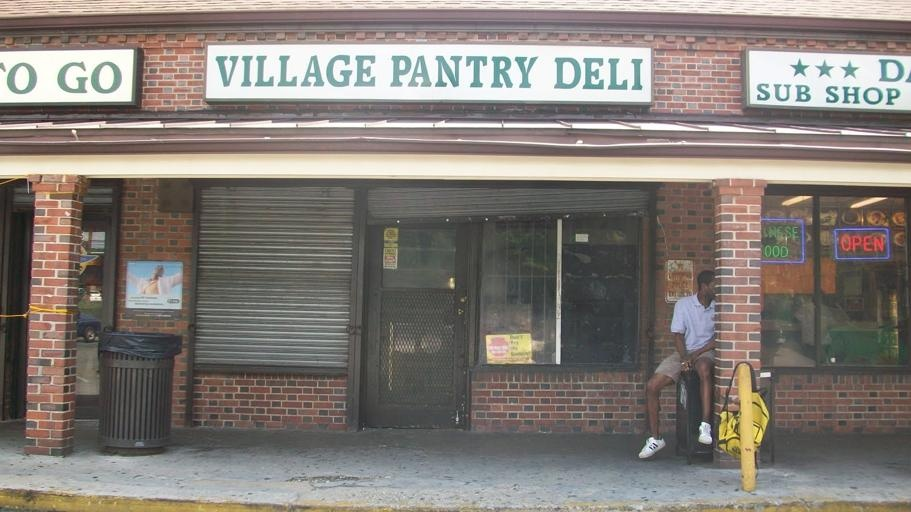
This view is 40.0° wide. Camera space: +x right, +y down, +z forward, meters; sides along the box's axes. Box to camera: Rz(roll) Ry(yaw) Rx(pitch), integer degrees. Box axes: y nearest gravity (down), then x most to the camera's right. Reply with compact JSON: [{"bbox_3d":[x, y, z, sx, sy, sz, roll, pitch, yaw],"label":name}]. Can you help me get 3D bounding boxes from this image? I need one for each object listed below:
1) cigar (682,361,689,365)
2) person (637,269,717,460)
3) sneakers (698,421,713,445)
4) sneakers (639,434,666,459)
[{"bbox_3d":[3.939,1.841,21.518,0.102,0.049,0.081,0,-3,-5],"label":"cigar"},{"bbox_3d":[3.913,1.871,21.649,1.264,3.227,0.768,-3,-5,13],"label":"person"},{"bbox_3d":[4.225,3.021,21.273,0.227,0.390,0.201,-2,-5,4],"label":"sneakers"},{"bbox_3d":[3.397,3.298,21.596,0.698,0.229,0.245,-20,-1,-33],"label":"sneakers"}]
